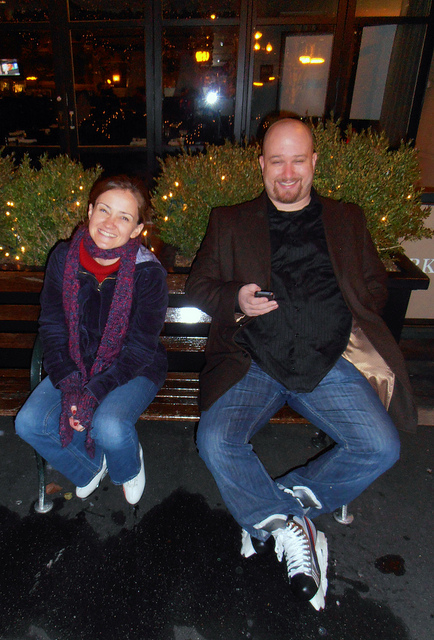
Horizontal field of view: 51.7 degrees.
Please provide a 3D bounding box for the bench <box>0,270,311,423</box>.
[{"bbox_3d":[-0.291,0.136,2.212,1.150,0.469,0.331,2,54,-3],"label":"bench"}]

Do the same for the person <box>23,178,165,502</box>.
[{"bbox_3d":[-0.570,0.190,2.185,0.620,1.624,0.703,0,28,-6],"label":"person"}]
